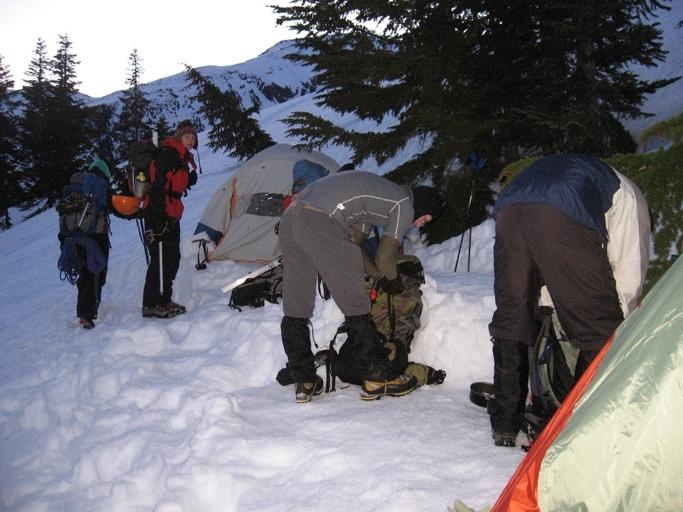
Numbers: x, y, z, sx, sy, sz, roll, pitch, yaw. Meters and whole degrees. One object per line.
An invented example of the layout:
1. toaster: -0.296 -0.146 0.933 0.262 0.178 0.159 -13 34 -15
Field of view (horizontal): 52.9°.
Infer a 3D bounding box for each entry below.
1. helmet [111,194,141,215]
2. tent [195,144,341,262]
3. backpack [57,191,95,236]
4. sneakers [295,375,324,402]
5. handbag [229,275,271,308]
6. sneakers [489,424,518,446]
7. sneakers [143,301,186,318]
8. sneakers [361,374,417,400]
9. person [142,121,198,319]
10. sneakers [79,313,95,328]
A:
1. helmet: -3.098 -0.729 9.837 0.310 0.201 0.308 2 4 -21
2. tent: -1.475 -1.092 13.048 2.526 1.367 2.068 -31 39 -22
3. backpack: -3.752 -0.608 9.717 0.569 0.773 0.407 2 -6 -4
4. sneakers: -0.321 1.412 7.539 0.148 0.201 0.437 5 17 27
5. handbag: -1.318 0.554 10.195 0.653 0.411 0.392 -2 5 -36
6. sneakers: 1.565 1.697 6.550 0.162 0.091 0.213 -2 11 11
7. sneakers: -2.603 0.746 10.077 0.576 0.261 0.230 -3 5 -5
8. sneakers: 0.500 1.399 7.485 0.593 0.293 0.232 -11 6 -11
9. person: -2.533 -0.546 9.979 0.725 2.839 0.306 -1 4 -20
10. sneakers: -3.586 0.922 9.622 0.156 0.188 0.160 7 33 35
